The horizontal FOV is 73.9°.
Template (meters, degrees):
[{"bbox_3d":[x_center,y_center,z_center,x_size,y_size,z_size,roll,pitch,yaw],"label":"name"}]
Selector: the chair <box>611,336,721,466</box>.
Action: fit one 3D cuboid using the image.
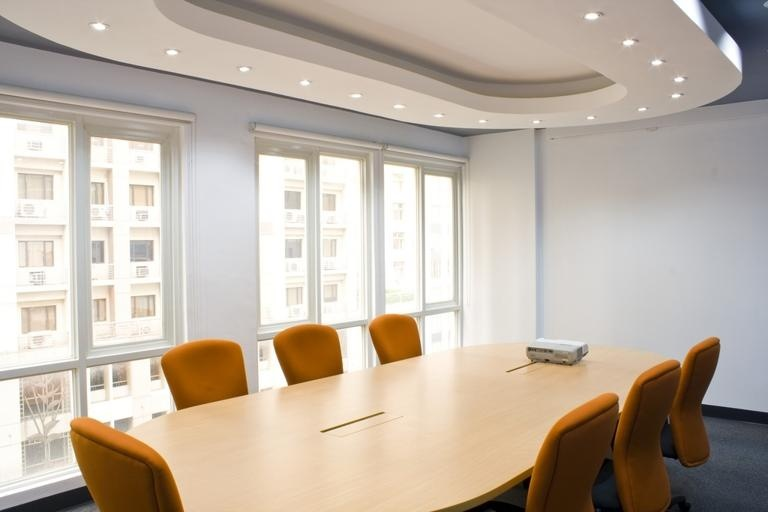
[{"bbox_3d":[2.434,1.141,4.527,0.764,1.226,0.962,-5,5,-39],"label":"chair"}]
